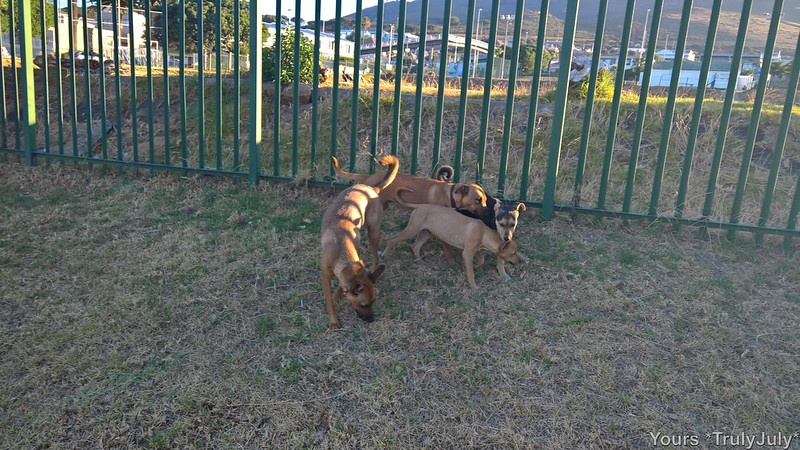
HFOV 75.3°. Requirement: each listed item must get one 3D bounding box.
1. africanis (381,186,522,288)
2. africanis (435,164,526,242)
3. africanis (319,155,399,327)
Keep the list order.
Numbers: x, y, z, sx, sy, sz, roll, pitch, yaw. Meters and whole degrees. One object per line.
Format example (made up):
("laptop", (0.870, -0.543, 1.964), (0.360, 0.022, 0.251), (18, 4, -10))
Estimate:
("africanis", (0.796, 0.203, 7.911), (2.282, 1.163, 0.639), (18, 27, 32))
("africanis", (1.464, -0.336, 8.323), (1.478, 0.869, 2.027), (-4, 20, -18))
("africanis", (-0.613, 0.042, 7.633), (0.659, 2.506, 1.378), (4, -23, -18))
